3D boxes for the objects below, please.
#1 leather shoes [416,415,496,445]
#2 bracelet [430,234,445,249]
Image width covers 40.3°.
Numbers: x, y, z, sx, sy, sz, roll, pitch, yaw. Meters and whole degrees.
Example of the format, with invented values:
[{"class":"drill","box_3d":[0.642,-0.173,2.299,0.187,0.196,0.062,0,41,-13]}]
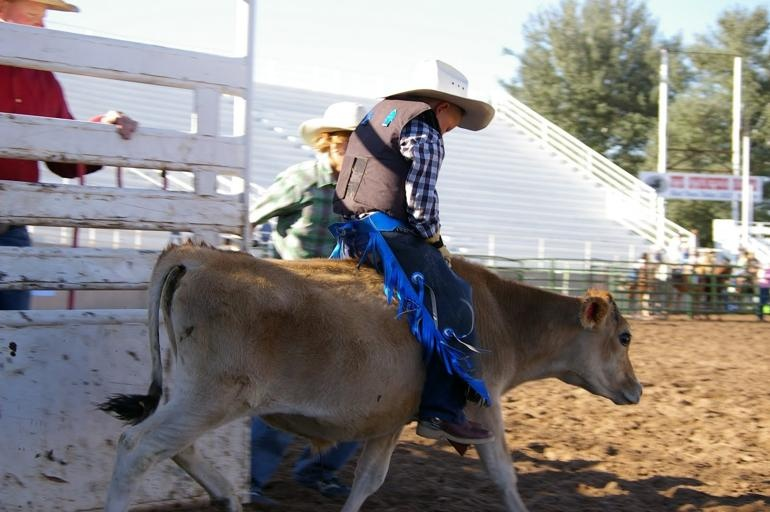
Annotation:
[{"class":"leather shoes","box_3d":[0.570,1.469,9.039,0.712,0.238,0.237,4,9,-12]},{"class":"bracelet","box_3d":[0.445,-0.130,9.107,0.129,0.077,0.116,-9,7,3]}]
